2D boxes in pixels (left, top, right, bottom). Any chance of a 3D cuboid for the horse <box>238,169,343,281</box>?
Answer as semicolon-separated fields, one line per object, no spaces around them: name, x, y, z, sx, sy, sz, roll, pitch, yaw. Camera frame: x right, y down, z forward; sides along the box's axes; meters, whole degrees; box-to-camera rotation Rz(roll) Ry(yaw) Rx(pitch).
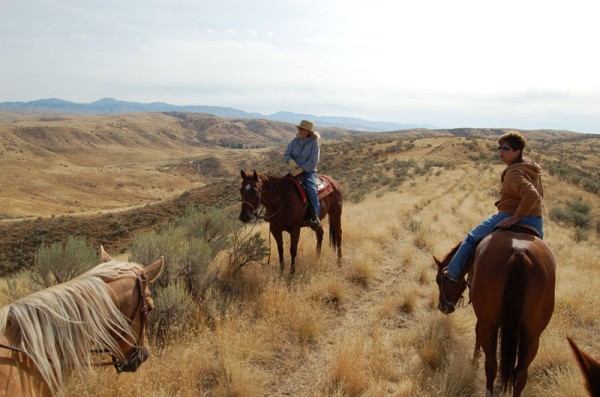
horse;-0.029;0.753;13.520;1.419;3.291;4.651;6;7;39
